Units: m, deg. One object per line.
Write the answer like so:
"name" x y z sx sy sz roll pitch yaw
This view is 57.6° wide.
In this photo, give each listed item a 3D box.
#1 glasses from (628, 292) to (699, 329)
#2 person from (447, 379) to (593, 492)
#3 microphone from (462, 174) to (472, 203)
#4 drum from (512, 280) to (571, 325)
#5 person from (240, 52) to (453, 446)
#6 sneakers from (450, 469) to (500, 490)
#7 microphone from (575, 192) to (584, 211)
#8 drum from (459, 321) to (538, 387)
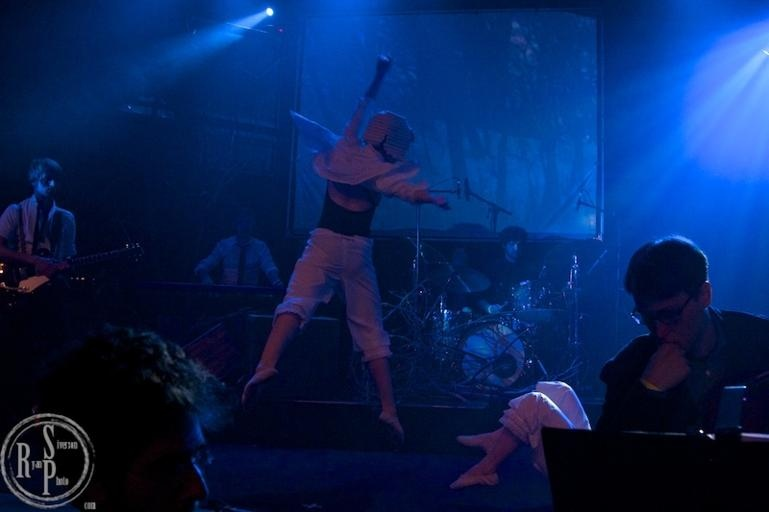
"glasses" 1.688 0.321 4.213 0.236 0.074 0.250 -10 11 41
"person" 1.003 1.172 4.865 1.095 0.575 0.613 -15 34 23
"microphone" 0.872 -0.713 7.404 0.107 0.231 0.048 9 -1 0
"drum" 1.446 0.441 6.441 0.587 0.380 0.452 8 -1 10
"person" -0.260 -0.123 5.416 1.162 2.908 0.472 9 -1 2
"sneakers" 0.643 1.565 4.928 0.366 0.136 0.125 0 -13 0
"microphone" 2.034 -0.573 7.318 0.074 0.160 0.026 9 -1 -8
"drum" 0.983 0.878 6.318 0.610 0.565 0.313 8 -1 6
